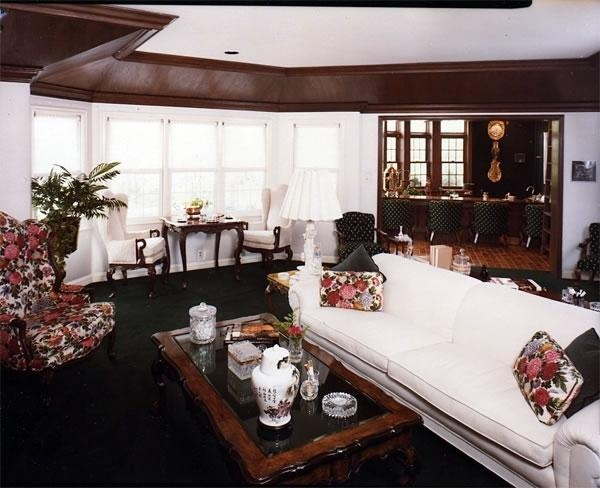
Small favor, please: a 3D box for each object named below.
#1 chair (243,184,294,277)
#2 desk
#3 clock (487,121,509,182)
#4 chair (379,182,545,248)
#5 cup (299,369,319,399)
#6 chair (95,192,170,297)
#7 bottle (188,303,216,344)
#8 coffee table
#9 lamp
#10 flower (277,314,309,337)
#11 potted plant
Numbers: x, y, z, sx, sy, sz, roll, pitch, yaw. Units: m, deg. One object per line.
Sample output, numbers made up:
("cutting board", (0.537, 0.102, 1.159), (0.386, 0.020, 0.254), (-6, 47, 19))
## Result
("chair", (-0.489, -0.295, 6.777), (0.734, 1.359, 0.848), (7, 7, 40))
("desk", (-1.425, 0.053, 6.331), (1.262, 0.895, 1.054), (-4, 13, -22))
("clock", (4.717, -2.208, 10.090), (0.424, 1.451, 0.697), (6, 12, 23))
("chair", (3.691, -0.541, 9.427), (3.125, 1.102, 1.643), (7, 13, 24))
("cup", (0.060, 0.826, 2.460), (0.107, 0.168, 0.113), (2, -5, 0))
("chair", (-2.284, -0.045, 5.767), (0.868, 1.418, 0.962), (-5, 11, -23))
("bottle", (-0.719, 0.567, 3.075), (0.181, 0.286, 0.197), (3, 14, -1))
("coffee table", (0.010, 0.514, 2.109), (0.763, 0.328, 1.289), (-7, 15, -29))
("lamp", (0.082, -0.219, 4.122), (0.507, 0.943, 0.518), (1, 13, -2))
("flower", (-0.032, 0.585, 2.815), (0.219, 0.140, 0.228), (1, 1, -15))
("potted plant", (-2.704, -0.515, 5.124), (1.113, 0.970, 1.182), (3, 7, 4))
